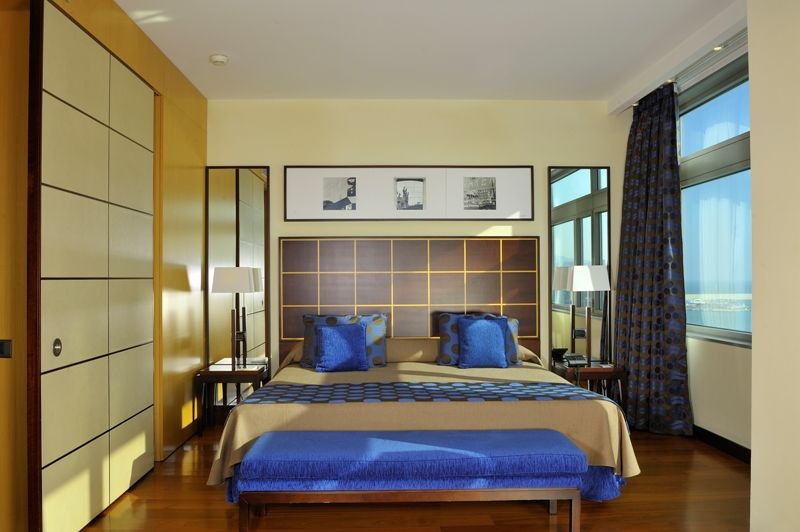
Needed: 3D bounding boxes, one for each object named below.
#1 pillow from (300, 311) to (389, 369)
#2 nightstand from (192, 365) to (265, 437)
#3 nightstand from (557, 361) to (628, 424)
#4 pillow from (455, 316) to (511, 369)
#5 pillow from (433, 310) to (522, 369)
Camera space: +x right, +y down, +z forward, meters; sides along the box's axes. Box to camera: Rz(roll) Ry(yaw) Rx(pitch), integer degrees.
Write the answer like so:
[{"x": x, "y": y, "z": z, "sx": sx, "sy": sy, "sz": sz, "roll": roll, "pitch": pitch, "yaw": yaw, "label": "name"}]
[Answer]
[{"x": -0.442, "y": 0.795, "z": 5.575, "sx": 0.635, "sy": 0.547, "sz": 0.177, "roll": 3, "pitch": -33, "yaw": -7, "label": "pillow"}, {"x": -1.596, "y": 1.183, "z": 5.397, "sx": 0.541, "sy": 0.330, "sz": 0.348, "roll": -14, "pitch": -9, "yaw": 1, "label": "nightstand"}, {"x": 1.937, "y": 1.380, "z": 5.589, "sx": 0.549, "sy": 0.388, "sz": 0.863, "roll": 0, "pitch": -2, "yaw": 2, "label": "nightstand"}, {"x": 0.781, "y": 0.751, "z": 5.338, "sx": 0.481, "sy": 0.438, "sz": 0.198, "roll": 2, "pitch": -15, "yaw": -1, "label": "pillow"}, {"x": 0.614, "y": 0.740, "z": 5.528, "sx": 0.622, "sy": 0.543, "sz": 0.176, "roll": 1, "pitch": -13, "yaw": 14, "label": "pillow"}]
